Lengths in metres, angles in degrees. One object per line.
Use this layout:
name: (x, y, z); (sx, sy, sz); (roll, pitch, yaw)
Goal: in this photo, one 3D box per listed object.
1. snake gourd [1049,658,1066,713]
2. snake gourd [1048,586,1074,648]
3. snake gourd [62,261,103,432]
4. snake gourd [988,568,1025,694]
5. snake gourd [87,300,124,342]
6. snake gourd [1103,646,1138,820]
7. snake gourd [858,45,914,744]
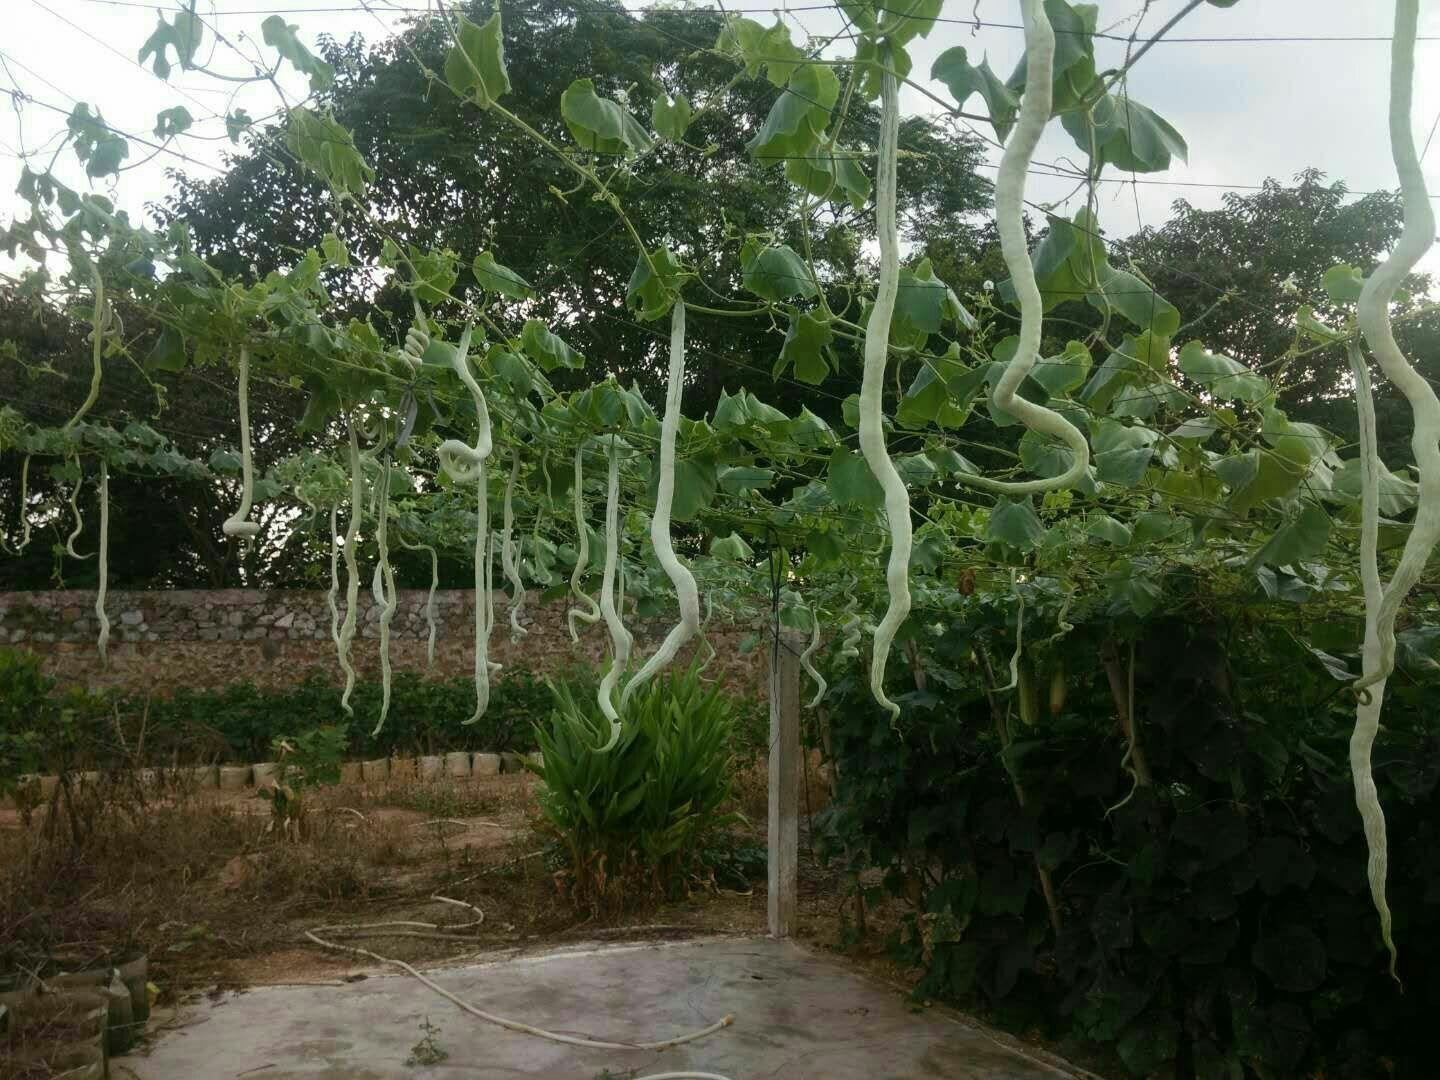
snake gourd: (1.227, 0.533, 4.504); (0.059, 0.189, 0.146); (0, 2, 14)
snake gourd: (1.179, 0.262, 4.259); (0.080, 0.199, 0.060); (19, -1, 11)
snake gourd: (-1.883, -0.533, 3.684); (0.112, 0.468, 0.032); (-19, -28, 8)
snake gourd: (1.037, 0.312, 4.480); (0.116, 0.077, 0.496); (-19, -29, -3)
snake gourd: (-1.823, -0.633, 3.687); (0.120, 0.143, 0.047); (3, 19, -1)
snake gourd: (1.369, 0.658, 4.226); (0.154, 0.565, 0.135); (-2, -9, 5)
snake gourd: (0.373, -0.348, 2.786); (0.105, 1.519, 0.370); (0, 3, 6)
